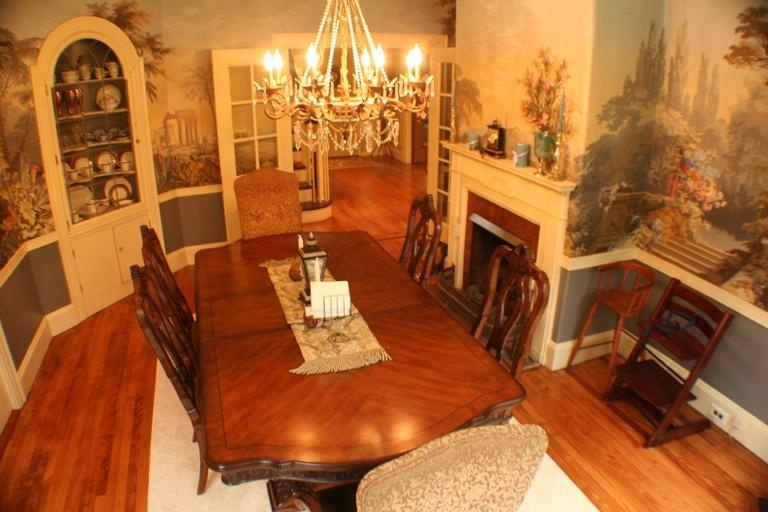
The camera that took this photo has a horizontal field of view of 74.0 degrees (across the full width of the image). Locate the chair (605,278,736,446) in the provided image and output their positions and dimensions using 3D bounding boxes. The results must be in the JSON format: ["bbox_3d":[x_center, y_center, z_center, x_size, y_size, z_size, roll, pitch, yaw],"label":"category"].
[{"bbox_3d":[2.325,0.803,4.250,0.815,1.173,0.753,-9,24,-17],"label":"chair"}]

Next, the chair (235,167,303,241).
[{"bbox_3d":[-1.268,-0.562,5.558,0.614,0.876,0.700,-12,44,-17],"label":"chair"}]

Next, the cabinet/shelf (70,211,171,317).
[{"bbox_3d":[-2.676,0.092,5.041,0.336,0.789,0.819,19,42,19],"label":"cabinet/shelf"}]

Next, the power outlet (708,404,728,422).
[{"bbox_3d":[2.760,1.296,4.210,0.020,0.129,0.122,-13,35,-20],"label":"power outlet"}]

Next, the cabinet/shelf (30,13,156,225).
[{"bbox_3d":[-2.998,-1.284,5.314,0.312,2.220,1.277,8,24,22],"label":"cabinet/shelf"}]
